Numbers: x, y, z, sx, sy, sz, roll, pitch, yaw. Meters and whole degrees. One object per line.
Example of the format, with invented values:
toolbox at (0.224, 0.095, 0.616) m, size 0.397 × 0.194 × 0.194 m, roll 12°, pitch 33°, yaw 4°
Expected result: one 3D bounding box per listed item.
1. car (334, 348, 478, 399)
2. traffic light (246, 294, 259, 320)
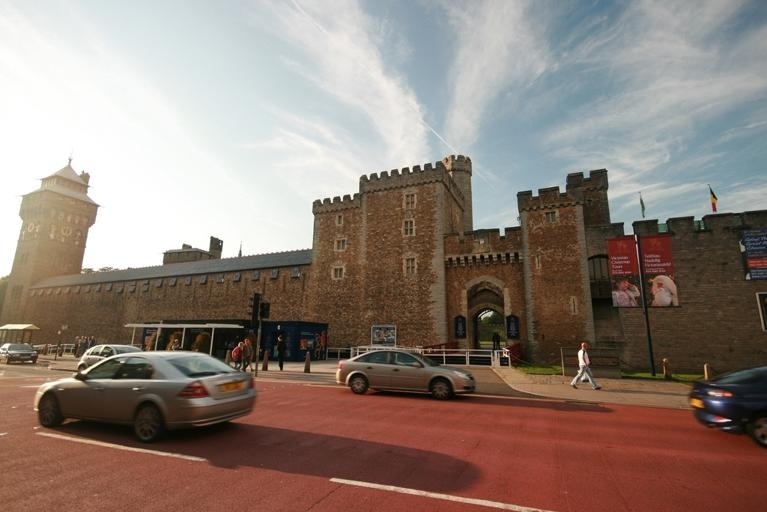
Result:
car at (0.845, 4.464, 14.563) m, size 5.119 × 1.447 × 2.017 m, roll -4°, pitch -13°, yaw 18°
traffic light at (-6.877, 2.736, 20.189) m, size 0.462 × 1.444 × 1.238 m, roll 4°, pitch -8°, yaw -16°
